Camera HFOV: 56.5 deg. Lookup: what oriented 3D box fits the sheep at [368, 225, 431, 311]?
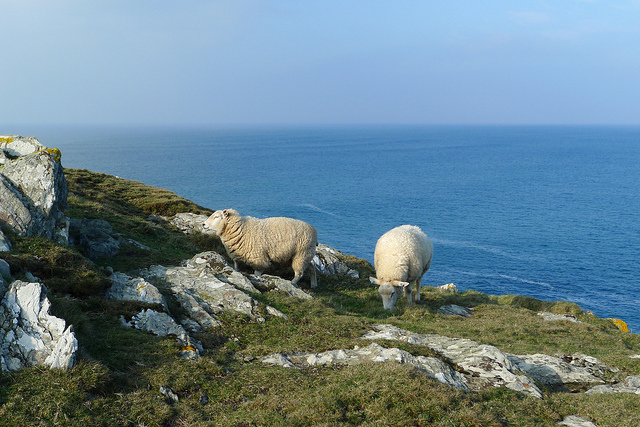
[{"bbox_3d":[5.083,3.125,36.941,2.935,3.827,7.455,10,5,20],"label":"sheep"}]
